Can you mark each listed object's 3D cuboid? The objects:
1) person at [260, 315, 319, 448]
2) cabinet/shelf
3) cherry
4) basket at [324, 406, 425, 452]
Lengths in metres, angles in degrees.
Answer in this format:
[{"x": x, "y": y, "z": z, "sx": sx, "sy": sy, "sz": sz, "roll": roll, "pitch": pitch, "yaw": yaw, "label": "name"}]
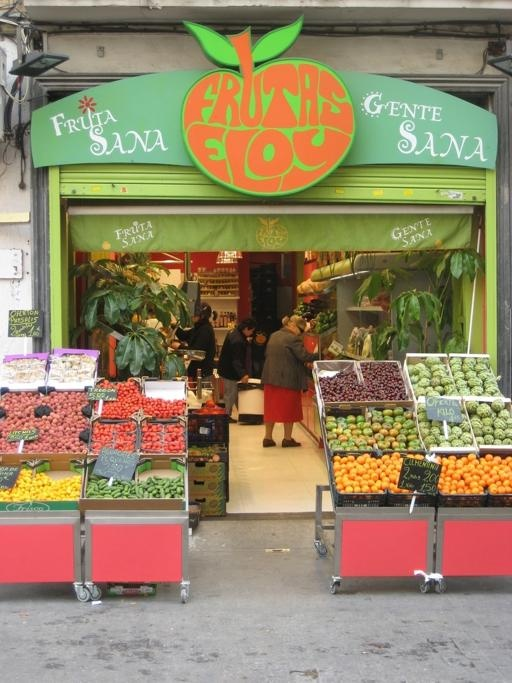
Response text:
[{"x": 0.391, "y": 0.517, "z": 8.249, "sx": 0.616, "sy": 1.640, "sz": 0.659, "roll": 0, "pitch": 1, "yaw": 1, "label": "person"}, {"x": 1.371, "y": -0.287, "z": 7.121, "sx": 0.503, "sy": 0.796, "sz": 2.236, "roll": 0, "pitch": 6, "yaw": -10, "label": "cabinet/shelf"}, {"x": 0.780, "y": 0.294, "z": 4.976, "sx": 0.625, "sy": 0.265, "sz": 0.567, "roll": 0, "pitch": 1, "yaw": 5, "label": "cherry"}, {"x": 0.789, "y": 0.616, "z": 4.589, "sx": 0.718, "sy": 0.231, "sz": 0.365, "roll": 0, "pitch": 6, "yaw": -1, "label": "basket"}]
